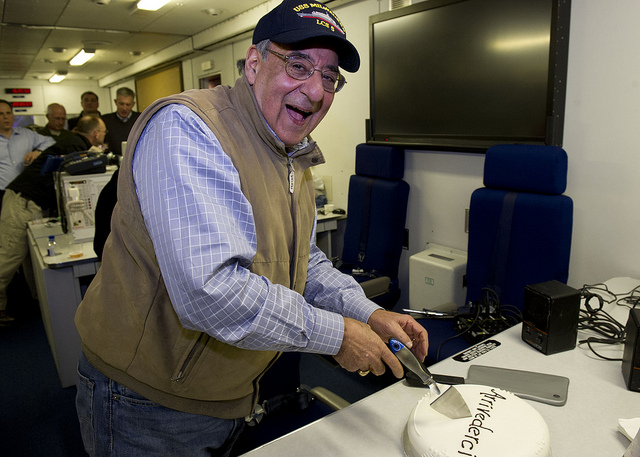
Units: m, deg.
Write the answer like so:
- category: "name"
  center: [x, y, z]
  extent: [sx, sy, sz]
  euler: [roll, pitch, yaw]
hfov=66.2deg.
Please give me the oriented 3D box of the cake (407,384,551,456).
- category: "cake"
  center: [0.526, 0.667, 1.650]
  extent: [0.449, 0.160, 0.240]
  euler: [1, 13, 13]

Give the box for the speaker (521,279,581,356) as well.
- category: "speaker"
  center: [0.996, 0.386, 2.120]
  extent: [0.218, 0.249, 0.157]
  euler: [-4, 12, -11]

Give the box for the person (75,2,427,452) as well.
- category: "person"
  center: [-0.339, 0.073, 1.780]
  extent: [1.163, 1.712, 0.692]
  euler: [-6, 12, -20]

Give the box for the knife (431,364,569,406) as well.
- category: "knife"
  center: [0.737, 0.613, 1.929]
  extent: [0.474, 0.044, 0.253]
  euler: [-4, 4, 43]
